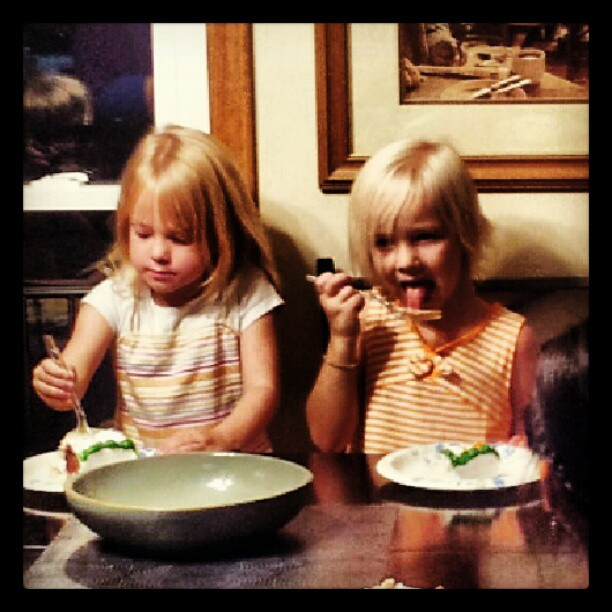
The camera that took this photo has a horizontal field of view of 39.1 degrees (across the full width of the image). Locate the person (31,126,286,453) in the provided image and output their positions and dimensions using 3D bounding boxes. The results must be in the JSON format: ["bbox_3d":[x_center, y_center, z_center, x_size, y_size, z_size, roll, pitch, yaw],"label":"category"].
[{"bbox_3d":[-0.239,0.092,1.525,0.378,0.779,0.386,-2,20,-10],"label":"person"}]

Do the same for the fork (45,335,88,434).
[{"bbox_3d":[-0.414,0.135,1.491,0.078,0.166,0.012,7,14,35],"label":"fork"}]
